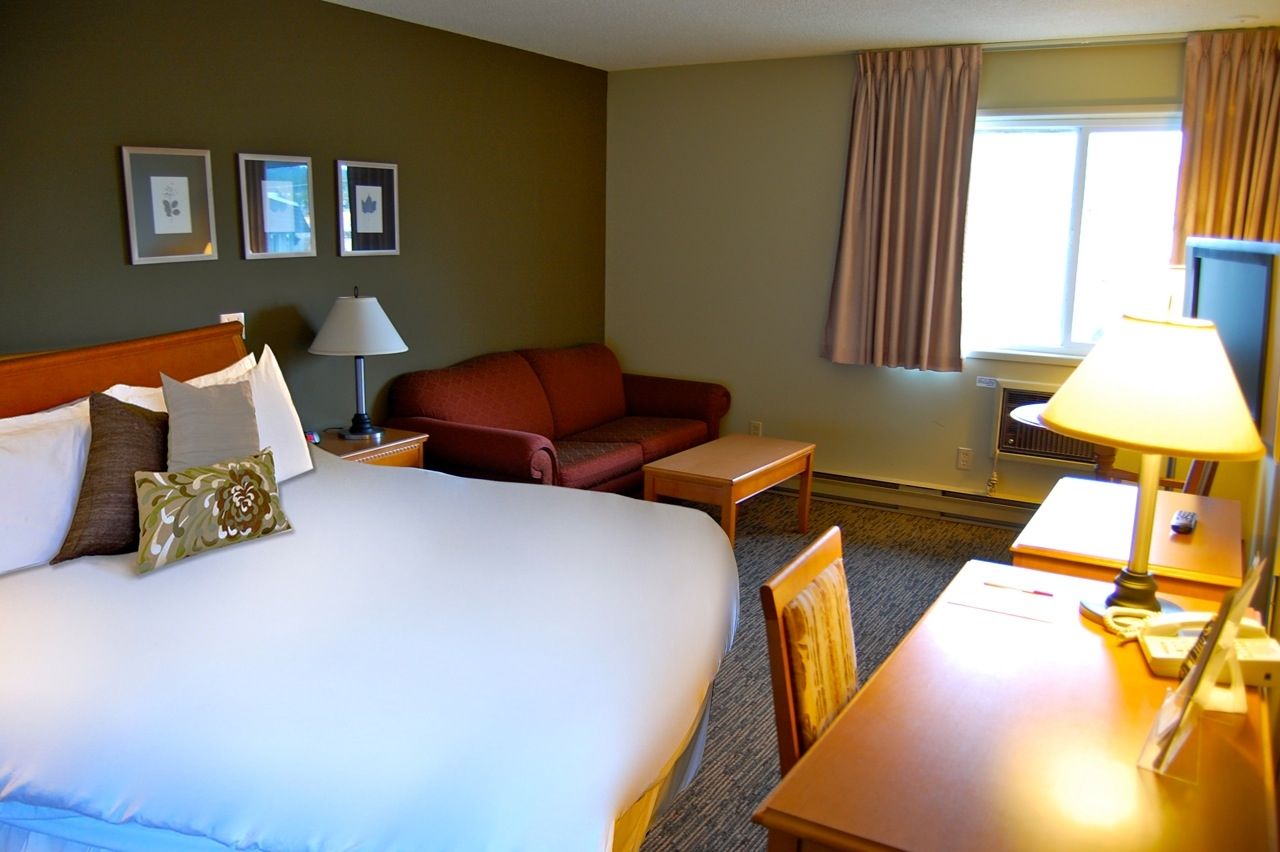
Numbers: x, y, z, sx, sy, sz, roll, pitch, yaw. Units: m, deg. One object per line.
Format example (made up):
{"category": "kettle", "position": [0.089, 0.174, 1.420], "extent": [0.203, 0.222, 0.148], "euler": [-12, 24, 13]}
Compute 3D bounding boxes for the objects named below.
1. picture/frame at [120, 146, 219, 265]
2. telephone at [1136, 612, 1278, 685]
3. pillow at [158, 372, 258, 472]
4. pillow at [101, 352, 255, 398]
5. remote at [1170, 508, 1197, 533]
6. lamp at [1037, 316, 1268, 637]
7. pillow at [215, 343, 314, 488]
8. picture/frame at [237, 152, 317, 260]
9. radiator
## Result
{"category": "picture/frame", "position": [-2.288, -1.081, 4.483], "extent": [0.039, 0.655, 0.537], "euler": [4, 10, 27]}
{"category": "telephone", "position": [1.547, 0.603, 2.546], "extent": [0.220, 0.101, 0.251], "euler": [3, 8, 11]}
{"category": "pillow", "position": [-1.718, -0.003, 3.698], "extent": [0.335, 0.374, 0.125], "euler": [-9, -20, -46]}
{"category": "pillow", "position": [-1.945, -0.213, 4.064], "extent": [0.271, 0.089, 0.279], "euler": [12, 21, 28]}
{"category": "remote", "position": [2.000, 0.342, 3.422], "extent": [0.061, 0.040, 0.124], "euler": [3, 24, 36]}
{"category": "lamp", "position": [1.543, 0.135, 2.812], "extent": [0.582, 0.944, 0.611], "euler": [2, 11, -8]}
{"category": "pillow", "position": [-1.610, -0.036, 4.137], "extent": [0.134, 0.475, 0.476], "euler": [-11, 12, 5]}
{"category": "picture/frame", "position": [-1.941, -1.186, 4.928], "extent": [0.023, 0.622, 0.509], "euler": [8, 16, 29]}
{"category": "radiator", "position": [2.580, 0.046, 5.908], "extent": [0.675, 0.215, 0.502], "euler": [13, 48, 7]}
